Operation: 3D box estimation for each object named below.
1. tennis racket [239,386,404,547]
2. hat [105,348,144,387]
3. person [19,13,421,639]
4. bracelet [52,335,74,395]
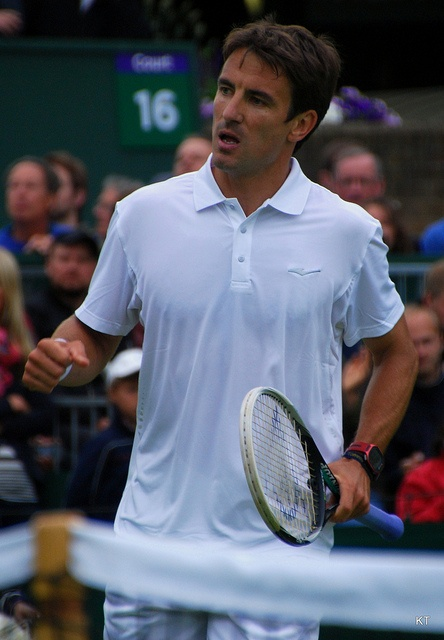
[{"bbox_3d":[0.147,0.339,2.799,0.185,0.359,0.354,8,5,27],"label":"tennis racket"},{"bbox_3d":[-0.464,0.206,5.397,0.178,0.105,0.290,-12,-10,-27],"label":"hat"},{"bbox_3d":[0.047,-0.110,3.129,0.890,1.340,0.492,7,4,19],"label":"person"},{"bbox_3d":[-0.407,0.103,3.086,0.080,0.104,0.042,11,-25,-26],"label":"bracelet"}]
